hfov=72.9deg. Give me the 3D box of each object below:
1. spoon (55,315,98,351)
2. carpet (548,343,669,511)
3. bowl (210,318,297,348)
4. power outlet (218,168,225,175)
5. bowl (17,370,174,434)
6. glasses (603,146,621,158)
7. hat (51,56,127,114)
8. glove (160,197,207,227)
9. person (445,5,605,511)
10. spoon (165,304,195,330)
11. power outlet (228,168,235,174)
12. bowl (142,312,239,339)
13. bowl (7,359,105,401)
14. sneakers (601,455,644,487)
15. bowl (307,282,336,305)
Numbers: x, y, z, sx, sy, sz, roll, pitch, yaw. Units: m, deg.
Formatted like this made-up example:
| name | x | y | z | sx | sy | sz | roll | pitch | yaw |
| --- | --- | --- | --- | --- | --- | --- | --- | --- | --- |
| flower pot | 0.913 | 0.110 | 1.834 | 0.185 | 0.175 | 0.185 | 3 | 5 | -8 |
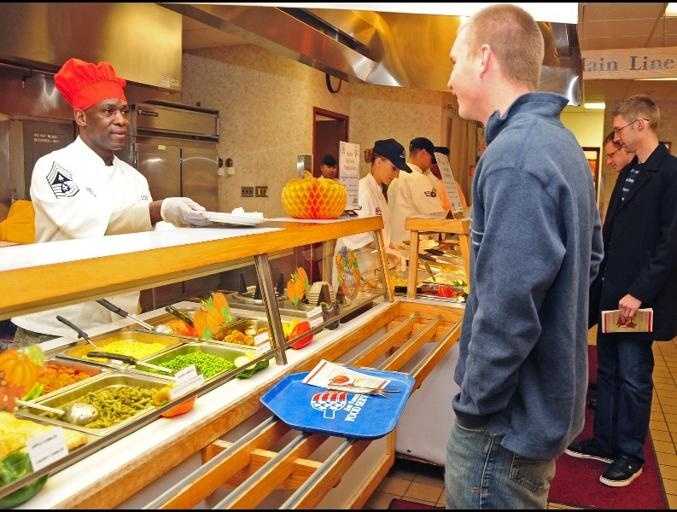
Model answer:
| name | x | y | z | sx | sy | sz | roll | pitch | yaw |
| --- | --- | --- | --- | --- | --- | --- | --- | --- | --- |
| spoon | -0.685 | 0.210 | 1.221 | 0.172 | 0.030 | 0.019 | 34 | 19 | -17 |
| carpet | 1.450 | 0.951 | 2.428 | 0.570 | 0.029 | 1.310 | -1 | 9 | 28 |
| bowl | -0.320 | 0.263 | 1.571 | 0.164 | 0.046 | 0.116 | 3 | 12 | 21 |
| power outlet | -1.600 | -1.146 | 6.217 | 0.097 | 0.077 | 0.084 | 2 | -1 | -4 |
| bowl | -0.619 | 0.375 | 1.182 | 0.133 | 0.028 | 0.182 | 15 | 8 | 20 |
| glasses | 1.954 | -0.745 | 3.270 | 0.116 | 0.101 | 0.033 | -12 | 4 | 0 |
| hat | -1.185 | -0.874 | 2.274 | 0.252 | 0.131 | 0.296 | 30 | 10 | 28 |
| glove | -0.607 | -0.153 | 1.761 | 0.178 | 0.056 | 0.119 | 17 | 21 | -12 |
| person | 0.486 | 0.037 | 1.295 | 0.416 | 1.478 | 0.387 | 2 | 10 | 25 |
| spoon | -0.504 | 0.193 | 1.459 | 0.131 | 0.028 | 0.030 | 37 | -18 | -36 |
| power outlet | -1.474 | -1.161 | 6.238 | 0.101 | 0.098 | 0.040 | -4 | 9 | -16 |
| bowl | -0.486 | 0.226 | 1.481 | 0.163 | 0.045 | 0.112 | 6 | 6 | 23 |
| bowl | -0.698 | 0.303 | 1.111 | 0.172 | 0.060 | 0.201 | 3 | 1 | 0 |
| sneakers | 1.754 | 1.281 | 2.794 | 0.351 | 0.133 | 0.120 | 0 | -3 | -32 |
| bowl | -0.077 | 0.161 | 2.009 | 0.086 | 0.055 | 0.114 | -1 | 2 | 5 |
